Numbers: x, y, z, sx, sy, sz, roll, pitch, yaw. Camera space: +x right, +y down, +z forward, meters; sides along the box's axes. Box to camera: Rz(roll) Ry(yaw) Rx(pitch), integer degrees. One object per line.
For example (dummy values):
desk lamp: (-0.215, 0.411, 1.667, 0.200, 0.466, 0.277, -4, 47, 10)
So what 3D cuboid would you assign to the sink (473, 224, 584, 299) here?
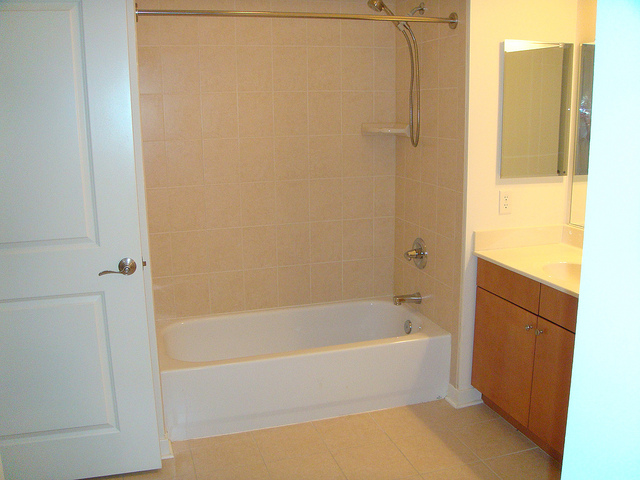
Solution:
sink: (1.248, 0.077, 2.949, 0.452, 0.112, 0.422, -5, 17, -15)

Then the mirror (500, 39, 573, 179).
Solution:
mirror: (1.240, -0.729, 3.056, 0.410, 0.808, 0.020, -1, 8, 1)

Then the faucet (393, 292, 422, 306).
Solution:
faucet: (0.603, 0.386, 3.600, 0.143, 0.081, 0.090, -2, 11, -11)
